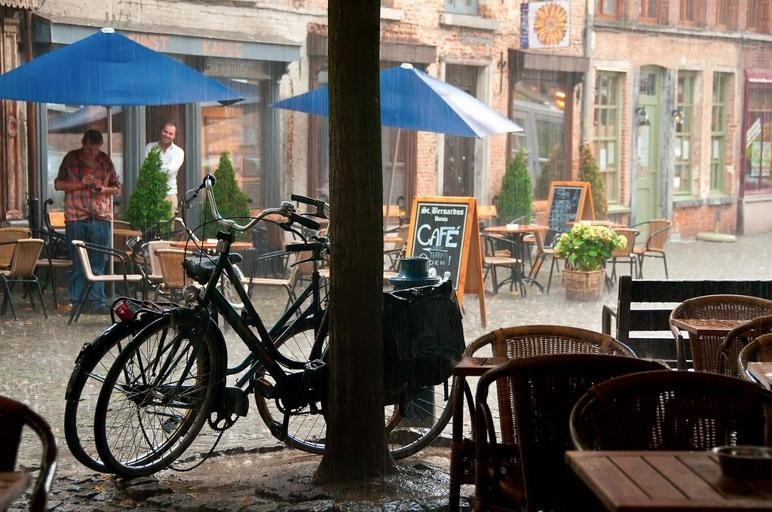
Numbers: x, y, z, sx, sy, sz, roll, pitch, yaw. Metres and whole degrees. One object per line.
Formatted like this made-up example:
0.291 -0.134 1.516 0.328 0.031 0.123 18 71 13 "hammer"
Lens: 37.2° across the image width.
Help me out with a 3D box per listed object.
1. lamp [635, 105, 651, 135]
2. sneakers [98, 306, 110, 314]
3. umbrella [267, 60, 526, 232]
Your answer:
5.359 -2.878 24.081 0.213 0.528 0.717 7 13 26 "lamp"
-3.758 0.716 15.205 0.129 0.096 0.072 1 -4 -6 "sneakers"
0.278 -1.495 15.636 2.044 1.460 2.071 0 6 -23 "umbrella"
